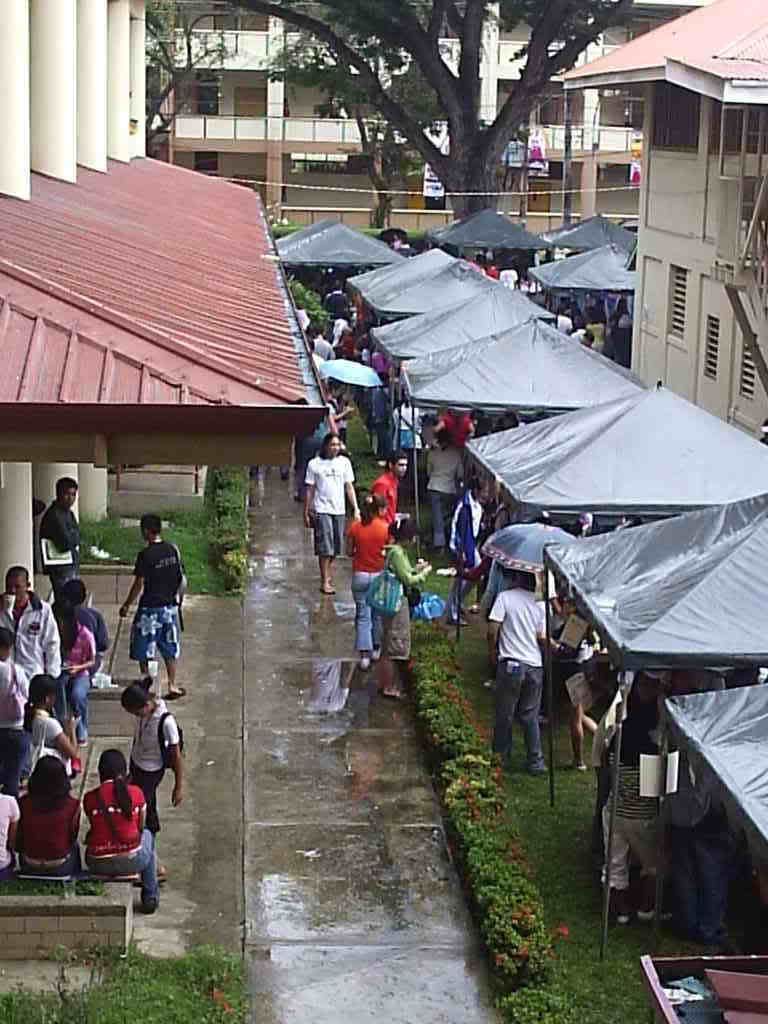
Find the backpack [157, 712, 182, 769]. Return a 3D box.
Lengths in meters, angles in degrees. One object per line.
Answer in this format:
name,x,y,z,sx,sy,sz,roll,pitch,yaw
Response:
backpack,-1.258,1.334,8.070,0.123,0.384,0.274,1,10,-3

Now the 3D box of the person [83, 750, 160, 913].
person,-1.456,1.762,7.589,0.357,1.089,0.492,2,10,-2

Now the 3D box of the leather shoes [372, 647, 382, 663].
leather shoes,-0.077,1.294,12.616,0.118,0.173,0.392,-1,-6,-1

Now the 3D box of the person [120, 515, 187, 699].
person,-1.850,0.742,11.114,0.497,1.675,1.330,0,10,-9

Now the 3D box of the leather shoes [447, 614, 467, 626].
leather shoes,0.771,1.101,14.282,0.245,0.127,0.088,-5,-1,16
